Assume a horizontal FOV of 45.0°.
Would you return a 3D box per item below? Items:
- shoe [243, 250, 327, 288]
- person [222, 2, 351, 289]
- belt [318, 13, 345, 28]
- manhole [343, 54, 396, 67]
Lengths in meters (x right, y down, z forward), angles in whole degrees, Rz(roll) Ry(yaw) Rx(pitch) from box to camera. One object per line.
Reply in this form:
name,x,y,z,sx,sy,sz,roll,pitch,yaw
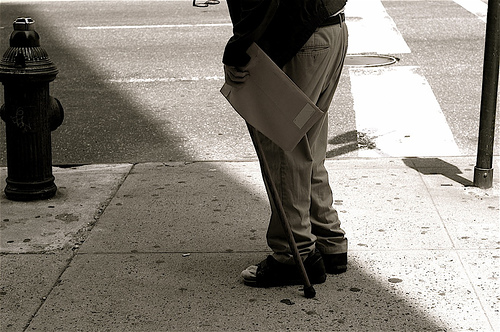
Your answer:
shoe,0.268,0.767,4.605,0.787,0.247,0.227,1,10,1
person,0.311,-0.182,4.512,0.891,2.034,1.191,0,27,6
belt,0.582,-0.992,4.236,0.151,0.030,0.149,-17,8,-40
manhole,1.912,-1.604,9.427,0.796,0.044,0.786,2,23,8
